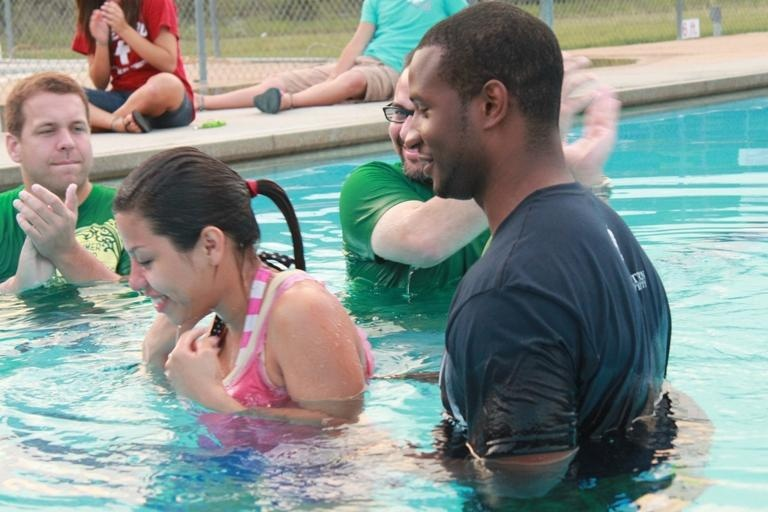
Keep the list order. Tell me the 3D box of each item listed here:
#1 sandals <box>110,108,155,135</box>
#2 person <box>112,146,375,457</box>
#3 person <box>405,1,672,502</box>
[{"bbox_3d":[-2.584,-1.417,8.550,0.190,0.141,0.466,-27,-32,25],"label":"sandals"},{"bbox_3d":[-0.593,0.145,3.351,0.580,1.171,0.693,-19,19,-40],"label":"person"},{"bbox_3d":[0.484,-0.032,2.716,0.725,1.605,0.555,-15,17,-28],"label":"person"}]
